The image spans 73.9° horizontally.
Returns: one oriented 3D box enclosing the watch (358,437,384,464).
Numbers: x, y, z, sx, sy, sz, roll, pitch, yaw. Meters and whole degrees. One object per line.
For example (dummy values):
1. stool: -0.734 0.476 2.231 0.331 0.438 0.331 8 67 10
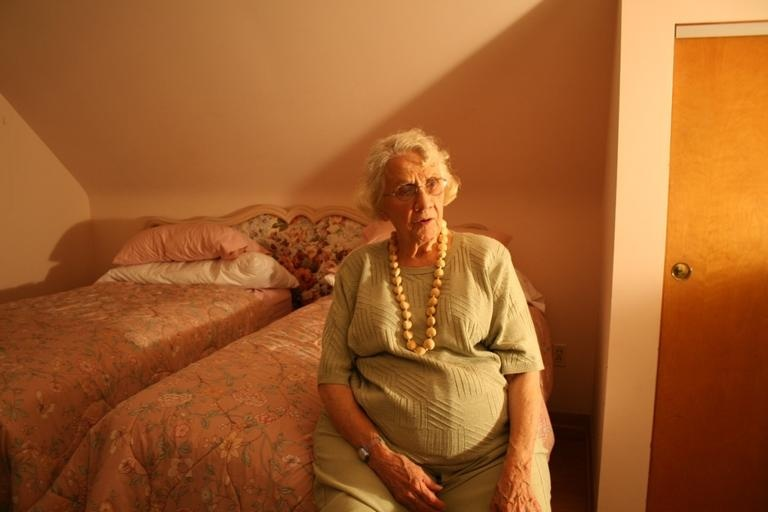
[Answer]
1. watch: -0.047 0.701 1.851 0.091 0.093 0.025 2 -18 39
